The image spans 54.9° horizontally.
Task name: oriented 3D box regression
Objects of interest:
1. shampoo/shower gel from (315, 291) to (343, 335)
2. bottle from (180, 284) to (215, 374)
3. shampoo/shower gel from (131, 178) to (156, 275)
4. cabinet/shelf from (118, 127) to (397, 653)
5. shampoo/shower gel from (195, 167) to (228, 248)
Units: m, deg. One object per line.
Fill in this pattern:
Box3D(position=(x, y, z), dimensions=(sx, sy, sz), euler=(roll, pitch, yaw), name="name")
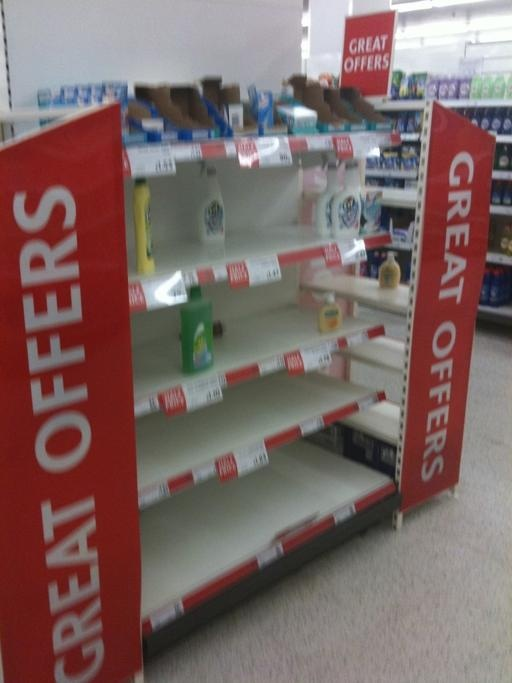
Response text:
Box3D(position=(0.322, -0.124, 2.120), dimensions=(0.115, 0.236, 0.067), euler=(-8, 11, -31), name="shampoo/shower gel")
Box3D(position=(-0.183, -0.055, 1.640), dimensions=(0.084, 0.276, 0.198), euler=(4, 10, 27), name="bottle")
Box3D(position=(-0.317, -0.326, 1.391), dimensions=(0.054, 0.257, 0.172), euler=(-2, 10, -14), name="shampoo/shower gel")
Box3D(position=(0.007, 0.183, 1.781), dimensions=(0.385, 1.511, 1.175), euler=(10, 21, 37), name="cabinet/shelf")
Box3D(position=(-0.168, -0.513, 1.863), dimensions=(0.102, 0.281, 0.281), euler=(-1, 10, -5), name="shampoo/shower gel")
